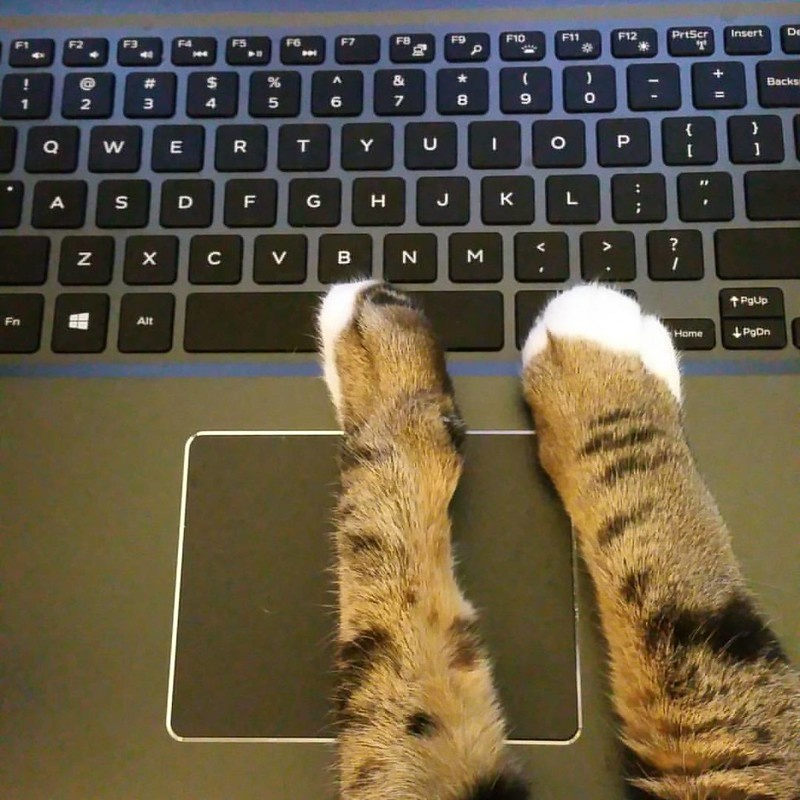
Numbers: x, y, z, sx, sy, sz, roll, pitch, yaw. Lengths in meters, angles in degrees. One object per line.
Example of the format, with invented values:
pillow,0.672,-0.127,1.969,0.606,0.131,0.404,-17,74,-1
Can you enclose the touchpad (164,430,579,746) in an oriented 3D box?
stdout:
touchpad,-0.098,0.181,0.960,0.323,0.016,0.265,-1,77,1
